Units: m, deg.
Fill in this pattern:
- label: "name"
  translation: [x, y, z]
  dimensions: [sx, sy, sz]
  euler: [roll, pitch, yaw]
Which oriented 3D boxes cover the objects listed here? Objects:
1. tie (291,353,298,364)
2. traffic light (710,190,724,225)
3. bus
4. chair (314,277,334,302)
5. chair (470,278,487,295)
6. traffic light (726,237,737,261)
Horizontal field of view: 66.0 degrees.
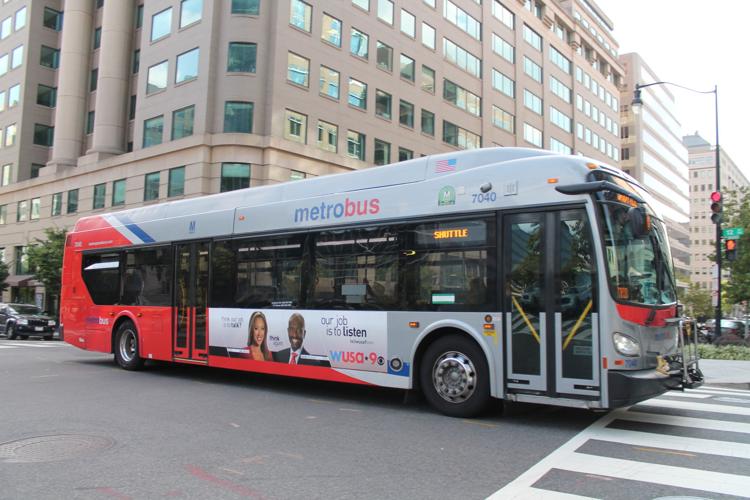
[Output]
- label: "tie"
  translation: [-1.780, 2.412, 12.777]
  dimensions: [0.165, 0.221, 0.063]
  euler: [6, -3, 28]
- label: "traffic light"
  translation: [11.810, -1.510, 19.876]
  dimensions: [0.338, 1.173, 1.522]
  euler: [1, -1, 29]
- label: "bus"
  translation: [-3.052, 0.777, 16.527]
  dimensions: [19.904, 5.307, 5.602]
  euler: [-6, -8, 37]
- label: "chair"
  translation: [-1.074, 0.864, 12.474]
  dimensions: [0.459, 0.465, 0.256]
  euler: [5, -9, 39]
- label: "chair"
  translation: [1.980, 0.699, 10.922]
  dimensions: [0.170, 0.305, 0.319]
  euler: [-1, 0, -44]
- label: "traffic light"
  translation: [13.099, 0.001, 21.193]
  dimensions: [0.301, 0.862, 0.679]
  euler: [1, 0, 31]
